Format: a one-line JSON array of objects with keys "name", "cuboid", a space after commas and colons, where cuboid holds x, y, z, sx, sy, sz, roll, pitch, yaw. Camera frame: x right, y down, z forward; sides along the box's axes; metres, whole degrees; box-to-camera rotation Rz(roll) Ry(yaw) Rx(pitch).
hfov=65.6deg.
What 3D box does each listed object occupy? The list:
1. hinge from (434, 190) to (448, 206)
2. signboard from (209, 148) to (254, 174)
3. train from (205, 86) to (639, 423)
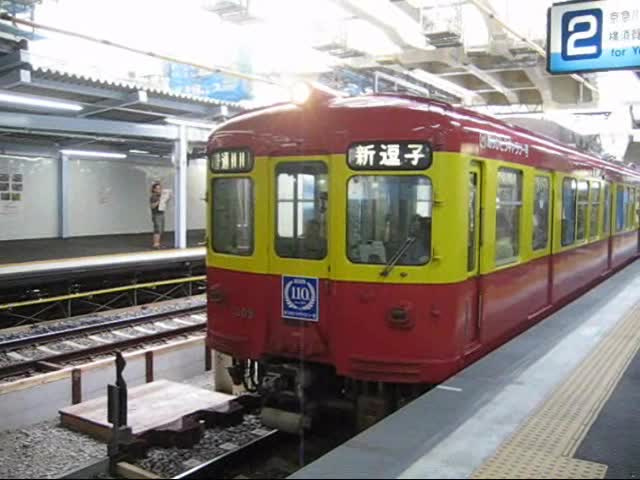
[{"name": "hinge", "cuboid": [1.126, -0.387, 4.632, 0.131, 0.133, 0.128, -4, 4, -40]}, {"name": "signboard", "cuboid": [-0.999, -0.862, 5.447, 0.457, 0.273, 0.107, 2, 6, 33]}, {"name": "train", "cuboid": [2.634, -0.235, 8.432, 2.619, 2.802, 9.302, 1, 6, 38]}]
